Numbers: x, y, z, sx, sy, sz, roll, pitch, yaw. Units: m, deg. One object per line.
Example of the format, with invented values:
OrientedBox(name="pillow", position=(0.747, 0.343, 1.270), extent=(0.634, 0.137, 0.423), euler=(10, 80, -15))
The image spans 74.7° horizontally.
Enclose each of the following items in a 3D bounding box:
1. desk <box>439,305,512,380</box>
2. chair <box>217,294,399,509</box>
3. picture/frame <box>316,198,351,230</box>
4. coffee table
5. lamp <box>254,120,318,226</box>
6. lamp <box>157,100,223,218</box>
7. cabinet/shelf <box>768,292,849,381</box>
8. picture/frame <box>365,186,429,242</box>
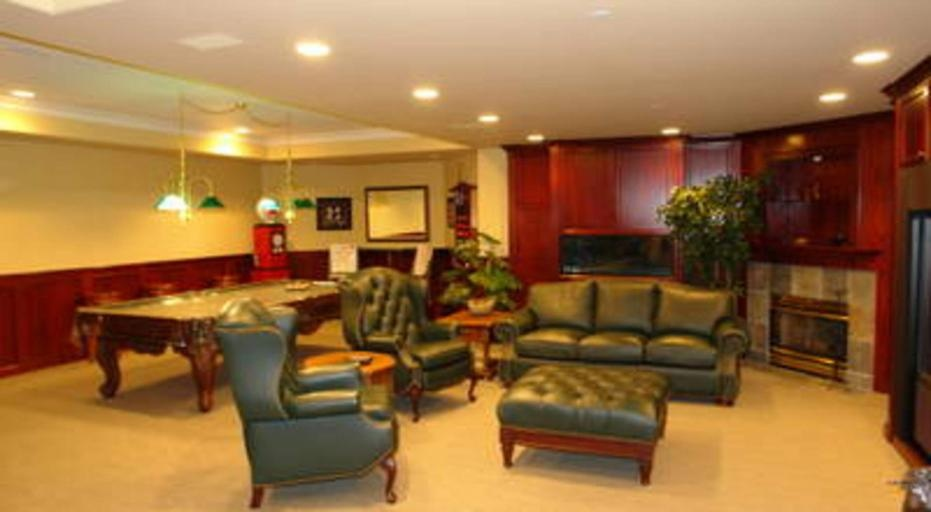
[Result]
OrientedBox(name="desk", position=(0.273, 1.187, 8.729), extent=(1.079, 0.898, 1.023), euler=(-1, 0, 25))
OrientedBox(name="chair", position=(-1.718, 1.291, 6.939), extent=(2.376, 2.131, 1.761), euler=(0, 5, -12))
OrientedBox(name="picture/frame", position=(-2.903, -0.944, 13.298), extent=(0.816, 0.659, 0.081), euler=(-1, 9, -2))
OrientedBox(name="coffee table", position=(-1.168, 1.399, 7.117), extent=(0.786, 0.430, 0.806), euler=(4, 4, 44))
OrientedBox(name="lamp", position=(-3.498, -1.425, 12.359), extent=(0.837, 1.528, 0.719), euler=(-1, 10, 11))
OrientedBox(name="lamp", position=(-4.446, -1.392, 9.799), extent=(0.960, 1.671, 3.981), euler=(-4, 4, -23))
OrientedBox(name="cabinet/shelf", position=(4.927, 1.161, 8.660), extent=(0.466, 1.148, 1.360), euler=(-1, 1, -39))
OrientedBox(name="picture/frame", position=(-1.503, -0.888, 13.216), extent=(1.691, 1.226, 0.128), euler=(-5, 8, -41))
